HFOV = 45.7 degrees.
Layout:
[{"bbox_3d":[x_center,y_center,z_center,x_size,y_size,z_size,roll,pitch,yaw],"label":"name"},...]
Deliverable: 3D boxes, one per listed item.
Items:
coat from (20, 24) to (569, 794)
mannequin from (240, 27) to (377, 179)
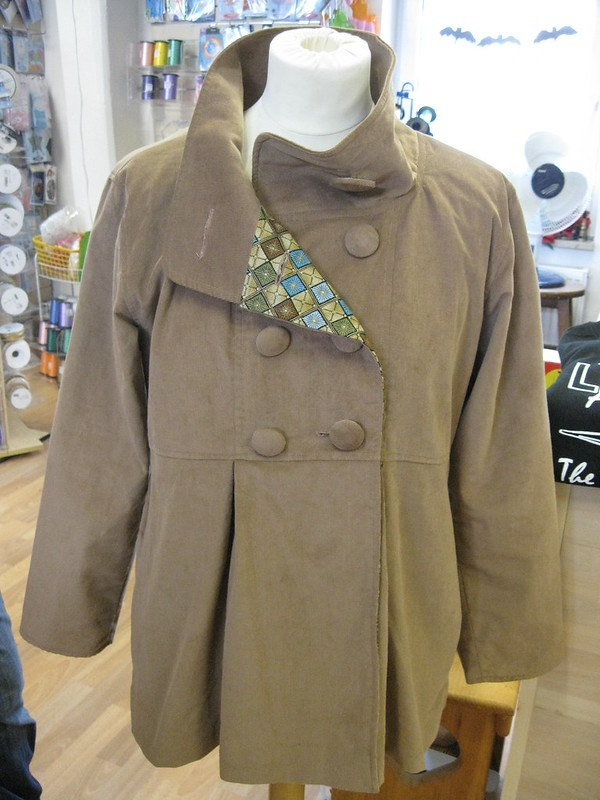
[{"bbox_3d":[-0.030,0.021,0.831,0.664,0.857,0.292,1,17,16],"label":"coat"},{"bbox_3d":[0.004,-0.323,0.802,0.149,0.090,0.165,-18,50,-17],"label":"mannequin"}]
